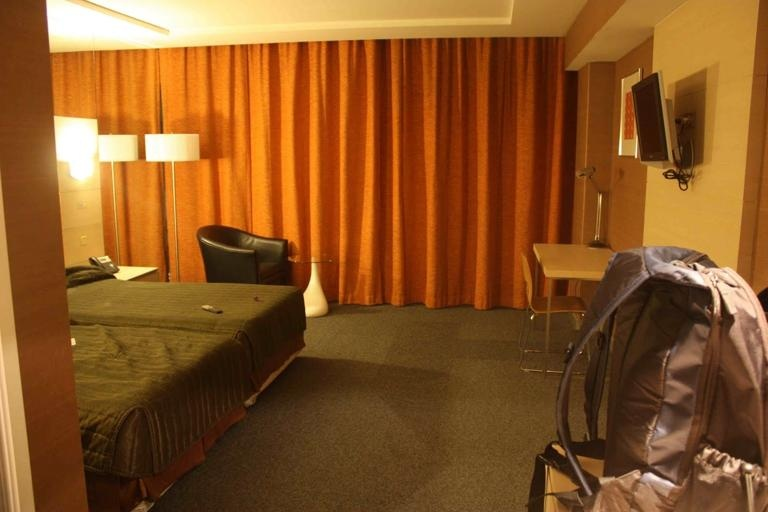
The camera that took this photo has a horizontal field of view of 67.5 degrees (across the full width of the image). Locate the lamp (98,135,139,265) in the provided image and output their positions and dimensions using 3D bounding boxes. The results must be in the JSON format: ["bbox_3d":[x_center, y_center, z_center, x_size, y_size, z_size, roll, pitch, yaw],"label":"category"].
[{"bbox_3d":[-2.855,-0.613,6.293,0.400,1.401,0.649,-5,6,-23],"label":"lamp"}]

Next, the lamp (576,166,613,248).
[{"bbox_3d":[1.932,-0.447,5.263,0.273,0.740,0.599,0,6,20],"label":"lamp"}]

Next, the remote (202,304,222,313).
[{"bbox_3d":[-1.205,0.378,4.036,0.060,0.043,0.219,0,7,-39],"label":"remote"}]

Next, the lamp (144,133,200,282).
[{"bbox_3d":[-2.221,-0.495,6.201,0.548,1.593,0.740,-4,6,-17],"label":"lamp"}]

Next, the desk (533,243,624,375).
[{"bbox_3d":[1.411,0.458,4.680,0.564,0.903,0.526,2,10,17],"label":"desk"}]

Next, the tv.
[{"bbox_3d":[1.713,-0.827,3.571,0.254,0.550,0.525,0,5,17],"label":"tv"}]
